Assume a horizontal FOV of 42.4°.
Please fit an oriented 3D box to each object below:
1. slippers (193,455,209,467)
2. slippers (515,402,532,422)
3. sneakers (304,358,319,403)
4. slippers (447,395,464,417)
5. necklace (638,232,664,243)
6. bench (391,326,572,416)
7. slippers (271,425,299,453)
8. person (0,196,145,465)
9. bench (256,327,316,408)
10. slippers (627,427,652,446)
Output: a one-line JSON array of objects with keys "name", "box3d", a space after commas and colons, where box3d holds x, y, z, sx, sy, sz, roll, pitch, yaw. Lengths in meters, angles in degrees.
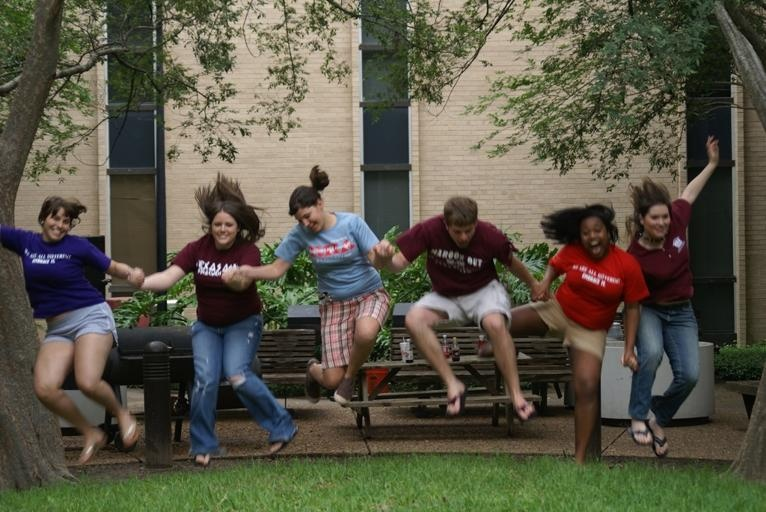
[{"name": "slippers", "box3d": [-2.131, 2.382, 11.551, 0.233, 0.089, 0.101, 0, -15, 39]}, {"name": "slippers", "box3d": [1.587, 1.728, 11.096, 0.207, 0.218, 0.288, -1, 0, 7]}, {"name": "sneakers", "box3d": [-0.903, 1.589, 12.543, 0.205, 0.519, 0.205, -10, 15, -23]}, {"name": "slippers", "box3d": [0.814, 1.673, 11.168, 0.167, 0.288, 0.121, 6, -10, 20]}, {"name": "necklace", "box3d": [3.193, -0.210, 11.620, 0.166, 0.168, 0.175, 12, 0, -3]}, {"name": "bench", "box3d": [1.390, 1.509, 13.507, 2.550, 0.950, 0.821, 2, -2, 0]}, {"name": "slippers", "box3d": [-1.197, 2.226, 11.975, 0.158, 0.213, 0.499, -4, 16, 33]}, {"name": "person", "box3d": [-3.573, 0.829, 11.261, 1.390, 3.112, 0.504, -2, 0, -14]}, {"name": "bench", "box3d": [-1.388, 1.461, 13.832, 1.359, 0.872, 0.665, 0, -1, -4]}, {"name": "slippers", "box3d": [3.098, 2.111, 11.772, 0.284, 0.199, 0.104, 18, 27, 29]}]
